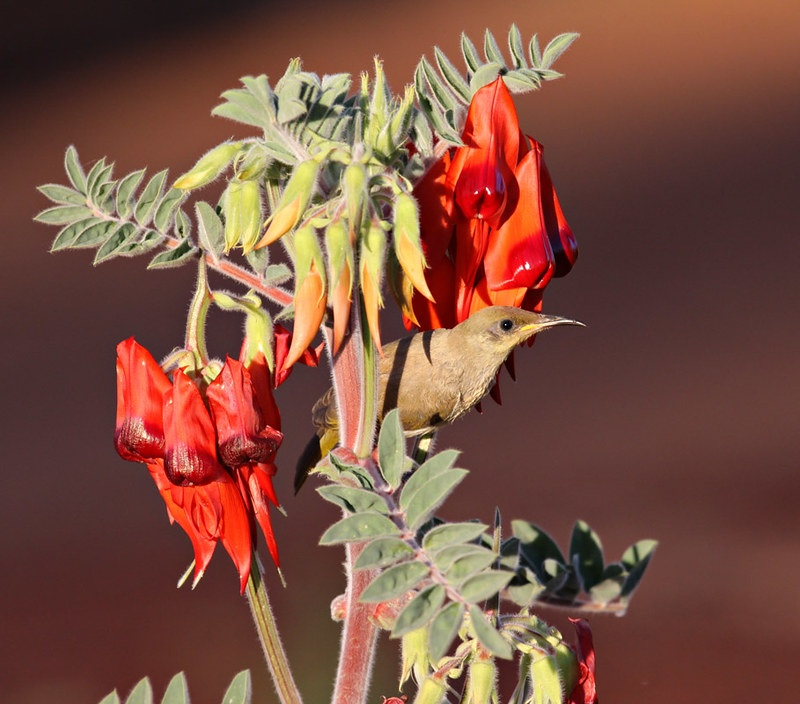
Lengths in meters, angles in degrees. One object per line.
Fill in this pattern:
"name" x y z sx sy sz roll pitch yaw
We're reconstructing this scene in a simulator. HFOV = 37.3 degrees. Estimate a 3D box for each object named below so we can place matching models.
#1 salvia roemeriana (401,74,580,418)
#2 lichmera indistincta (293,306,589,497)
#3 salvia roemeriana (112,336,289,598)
"salvia roemeriana" 0.076 -0.152 1.228 0.097 0.121 0.294 -6 -35 -40
"lichmera indistincta" 0.027 0.048 1.525 0.383 0.211 0.149 -4 27 14
"salvia roemeriana" -0.198 0.111 1.164 0.157 0.252 0.143 -3 -9 -16
